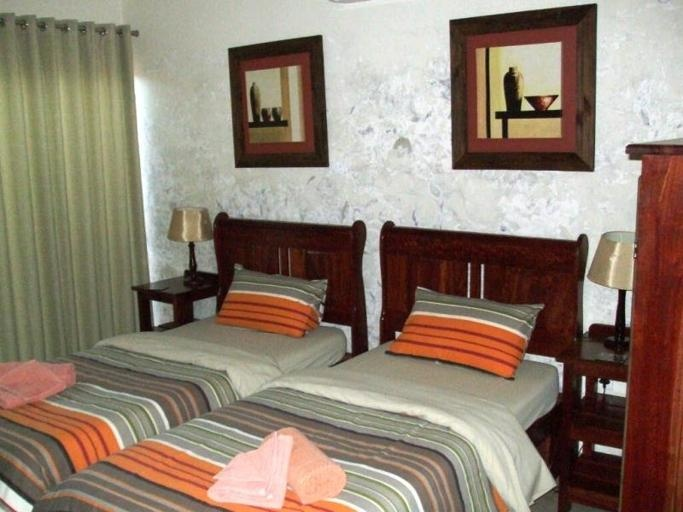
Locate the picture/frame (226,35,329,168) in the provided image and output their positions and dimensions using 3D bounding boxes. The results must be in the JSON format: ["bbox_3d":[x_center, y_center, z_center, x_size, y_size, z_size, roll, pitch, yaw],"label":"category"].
[{"bbox_3d":[-0.430,-1.130,4.405,0.941,1.012,0.075,3,12,32],"label":"picture/frame"}]

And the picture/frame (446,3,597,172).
[{"bbox_3d":[1.069,-0.996,3.536,0.974,1.048,0.042,1,8,30],"label":"picture/frame"}]

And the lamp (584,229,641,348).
[{"bbox_3d":[1.412,0.185,3.238,0.220,0.609,0.390,5,10,26],"label":"lamp"}]
